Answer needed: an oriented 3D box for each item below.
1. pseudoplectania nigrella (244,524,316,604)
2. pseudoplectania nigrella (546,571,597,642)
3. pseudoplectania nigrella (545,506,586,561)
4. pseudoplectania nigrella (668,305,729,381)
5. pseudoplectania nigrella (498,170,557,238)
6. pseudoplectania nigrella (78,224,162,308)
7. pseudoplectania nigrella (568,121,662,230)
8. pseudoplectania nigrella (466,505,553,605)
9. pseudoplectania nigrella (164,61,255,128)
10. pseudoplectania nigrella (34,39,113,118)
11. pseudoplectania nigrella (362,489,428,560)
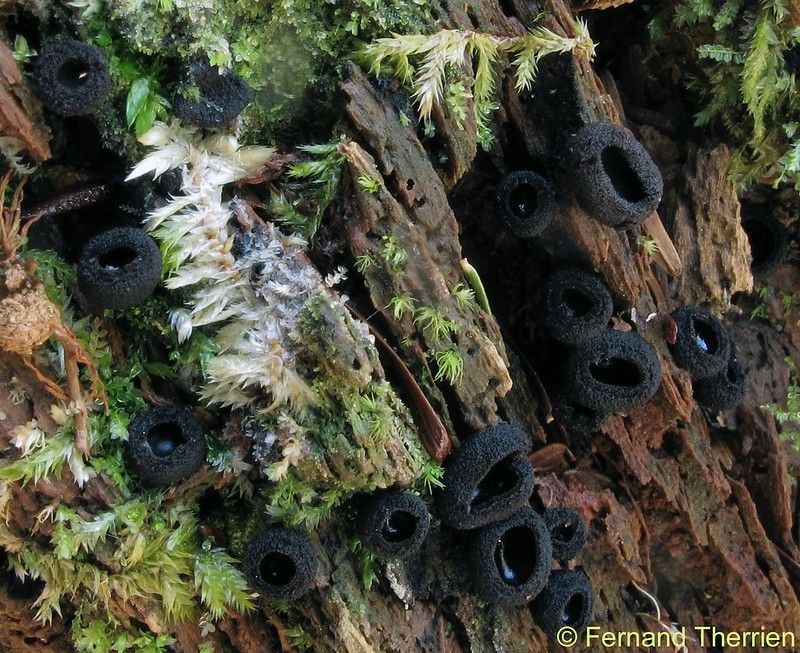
[{"bbox_3d":[-0.839,1.655,6.354,0.522,0.474,0.318,1,-40,-7],"label":"pseudoplectania nigrella"},{"bbox_3d":[1.306,2.127,6.903,0.361,0.178,0.500,-5,-76,-20],"label":"pseudoplectania nigrella"},{"bbox_3d":[1.306,1.594,6.904,0.328,0.414,0.134,6,-6,-5],"label":"pseudoplectania nigrella"},{"bbox_3d":[2.385,0.123,7.140,0.483,0.530,0.235,39,-37,-9],"label":"pseudoplectania nigrella"},{"bbox_3d":[0.952,-0.932,6.725,0.434,0.363,0.337,-16,-42,11],"label":"pseudoplectania nigrella"},{"bbox_3d":[-1.900,-0.410,6.009,0.479,0.576,0.279,3,-25,-8],"label":"pseudoplectania nigrella"},{"bbox_3d":[1.548,-1.119,6.524,0.599,0.800,0.282,-12,-6,-31],"label":"pseudoplectania nigrella"},{"bbox_3d":[0.837,1.733,6.662,0.546,0.780,0.271,-8,2,-10],"label":"pseudoplectania nigrella"},{"bbox_3d":[-1.294,-1.573,6.205,0.505,0.230,0.415,13,-46,-20],"label":"pseudoplectania nigrella"},{"bbox_3d":[-2.172,-1.659,5.938,0.475,0.342,0.376,-11,-42,5],"label":"pseudoplectania nigrella"},{"bbox_3d":[-0.054,1.407,6.472,0.523,0.439,0.320,-12,-41,7],"label":"pseudoplectania nigrella"}]
